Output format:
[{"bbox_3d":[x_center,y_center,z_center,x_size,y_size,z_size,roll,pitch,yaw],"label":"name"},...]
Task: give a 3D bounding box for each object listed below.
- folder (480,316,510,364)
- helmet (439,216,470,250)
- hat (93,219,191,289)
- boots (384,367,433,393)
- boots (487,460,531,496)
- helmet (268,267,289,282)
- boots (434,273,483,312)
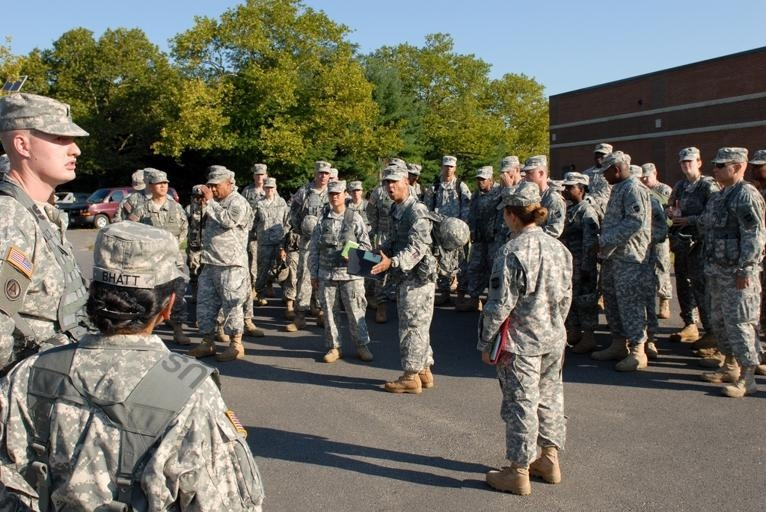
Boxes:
[{"bbox_3d":[1.006,0.740,6.696,0.049,0.312,0.429,29,20,2],"label":"folder"},{"bbox_3d":[0.847,-0.276,8.809,0.334,0.296,0.397,-8,34,-14],"label":"helmet"},{"bbox_3d":[-1.537,-0.004,4.792,0.527,0.223,0.475,5,0,4],"label":"hat"},{"bbox_3d":[0.306,1.412,8.804,0.350,0.200,0.416,2,2,28],"label":"boots"},{"bbox_3d":[1.122,1.997,6.754,0.395,0.280,0.156,0,-2,8],"label":"boots"},{"bbox_3d":[-1.751,0.314,12.618,0.306,0.260,0.365,3,15,-7],"label":"helmet"},{"bbox_3d":[1.422,0.682,13.006,0.699,0.514,0.848,0,1,-19],"label":"boots"}]
